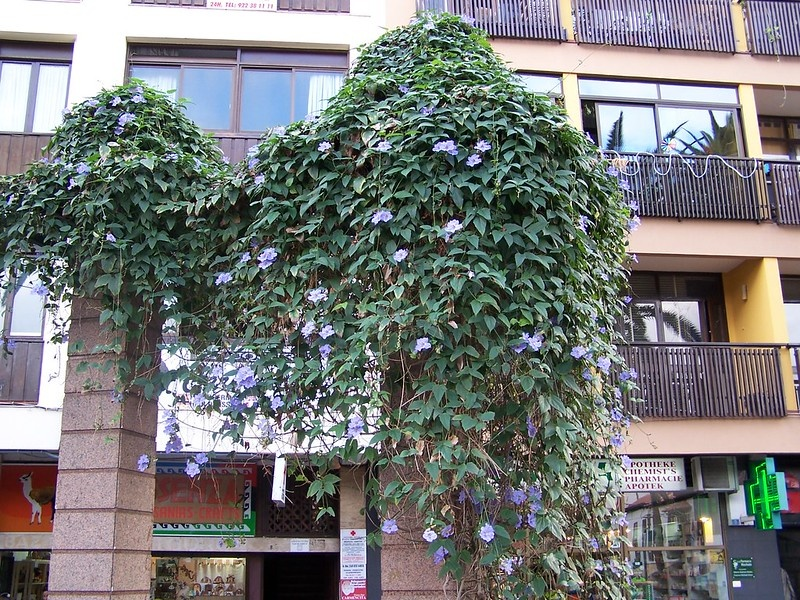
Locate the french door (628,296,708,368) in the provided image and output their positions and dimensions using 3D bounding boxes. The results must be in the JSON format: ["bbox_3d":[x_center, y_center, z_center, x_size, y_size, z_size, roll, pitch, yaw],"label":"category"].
[{"bbox_3d":[4.408,0.539,10.632,1.079,0.845,0.072,3,-23,-15],"label":"french door"}]

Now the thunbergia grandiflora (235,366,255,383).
[{"bbox_3d":[-0.938,0.443,3.855,0.114,0.117,0.070,1,-17,-7],"label":"thunbergia grandiflora"}]
